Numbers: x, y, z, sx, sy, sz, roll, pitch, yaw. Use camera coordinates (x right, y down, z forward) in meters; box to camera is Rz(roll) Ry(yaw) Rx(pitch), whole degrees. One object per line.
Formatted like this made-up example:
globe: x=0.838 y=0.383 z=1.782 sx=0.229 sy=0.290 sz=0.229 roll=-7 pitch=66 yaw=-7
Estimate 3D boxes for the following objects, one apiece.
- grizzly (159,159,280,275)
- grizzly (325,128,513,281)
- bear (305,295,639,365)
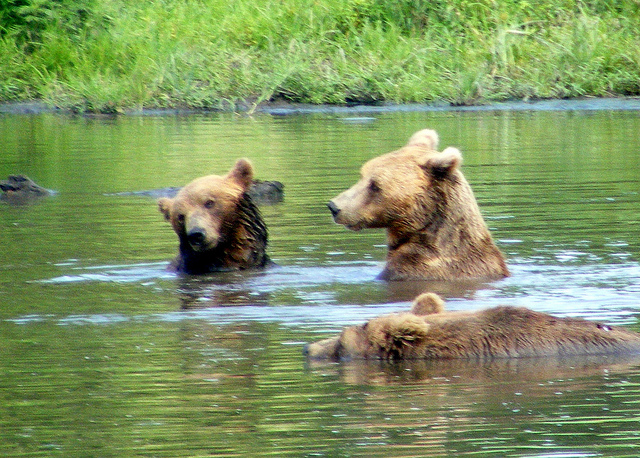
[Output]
grizzly: x=-0.949 y=-0.086 z=10.168 sx=0.935 sy=1.097 sz=0.662 roll=-4 pitch=8 yaw=-2
grizzly: x=0.935 y=-0.136 z=10.010 sx=1.497 sy=1.240 sz=0.511 roll=-1 pitch=9 yaw=11
bear: x=1.155 y=0.787 z=8.226 sx=1.973 sy=0.274 sz=0.425 roll=-3 pitch=-27 yaw=5
